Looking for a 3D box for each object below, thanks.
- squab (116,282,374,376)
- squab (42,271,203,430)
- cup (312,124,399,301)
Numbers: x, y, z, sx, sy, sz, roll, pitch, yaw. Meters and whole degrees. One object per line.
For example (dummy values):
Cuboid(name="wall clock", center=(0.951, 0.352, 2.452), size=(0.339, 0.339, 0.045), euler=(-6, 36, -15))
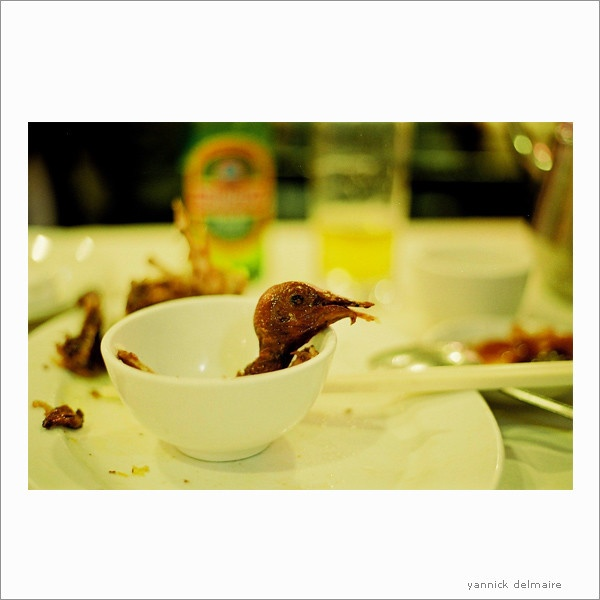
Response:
Cuboid(name="squab", center=(-0.100, 0.080, 1.226), size=(0.500, 0.181, 0.115), euler=(-9, -8, 5))
Cuboid(name="squab", center=(-0.403, 0.045, 1.316), size=(0.350, 0.275, 0.265), euler=(-17, 32, -33))
Cuboid(name="cup", center=(0.112, -0.174, 1.261), size=(0.177, 0.311, 0.134), euler=(1, 28, 9))
